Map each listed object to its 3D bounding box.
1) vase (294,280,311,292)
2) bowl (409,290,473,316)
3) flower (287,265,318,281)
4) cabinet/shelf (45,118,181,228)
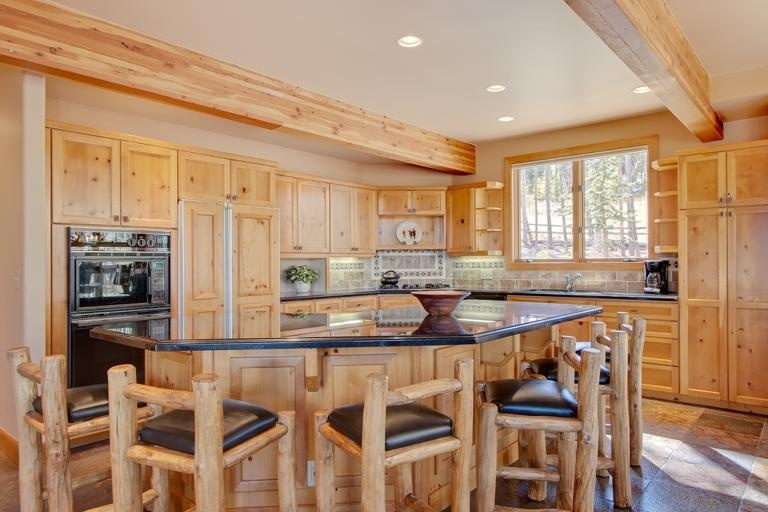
[{"bbox_3d":[-1.073,0.402,6.966,0.168,0.090,0.166,3,-4,-41],"label":"vase"},{"bbox_3d":[0.442,0.365,4.108,0.403,0.168,0.295,-1,-1,9],"label":"bowl"},{"bbox_3d":[-1.102,0.224,6.946,0.291,0.130,0.283,-1,-2,38],"label":"flower"},{"bbox_3d":[-2.601,-0.734,5.043,1.426,0.970,0.543,0,1,-42],"label":"cabinet/shelf"}]
